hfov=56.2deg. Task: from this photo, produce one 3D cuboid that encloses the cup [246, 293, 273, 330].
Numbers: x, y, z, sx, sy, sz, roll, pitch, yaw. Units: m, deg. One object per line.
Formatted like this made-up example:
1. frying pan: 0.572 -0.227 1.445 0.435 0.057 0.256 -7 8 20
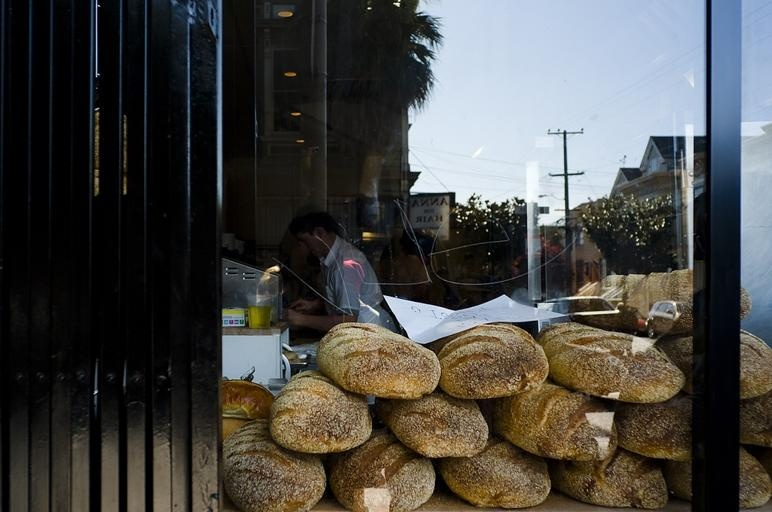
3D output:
1. cup: -0.352 0.155 1.994 0.074 0.098 0.081 -3 -4 -16
